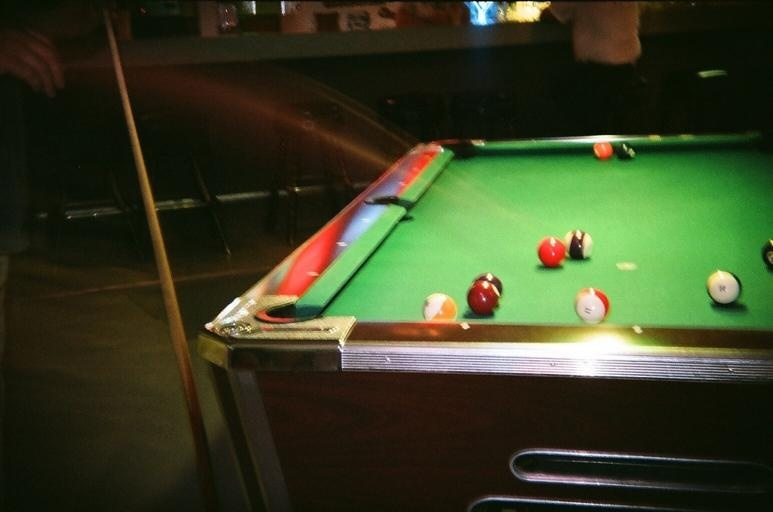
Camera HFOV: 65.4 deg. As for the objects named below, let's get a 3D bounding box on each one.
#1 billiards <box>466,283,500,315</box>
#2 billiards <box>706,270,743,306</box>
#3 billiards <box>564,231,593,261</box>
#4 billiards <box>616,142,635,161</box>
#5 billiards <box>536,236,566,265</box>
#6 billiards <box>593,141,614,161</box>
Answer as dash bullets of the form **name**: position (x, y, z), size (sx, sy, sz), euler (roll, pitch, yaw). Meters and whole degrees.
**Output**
- **billiards**: position (0.287, 0.126, 1.859), size (0.100, 0.105, 0.094), euler (-1, 23, 21)
- **billiards**: position (1.017, 0.080, 1.823), size (0.104, 0.066, 0.100), euler (3, 57, 9)
- **billiards**: position (0.674, -0.037, 2.170), size (0.102, 0.099, 0.111), euler (8, 8, -10)
- **billiards**: position (1.262, -0.555, 3.197), size (0.097, 0.070, 0.103), euler (27, 27, 21)
- **billiards**: position (0.569, -0.017, 2.084), size (0.087, 0.099, 0.087), euler (-5, 12, 32)
- **billiards**: position (1.160, -0.560, 3.219), size (0.084, 0.052, 0.082), euler (20, 52, 27)
